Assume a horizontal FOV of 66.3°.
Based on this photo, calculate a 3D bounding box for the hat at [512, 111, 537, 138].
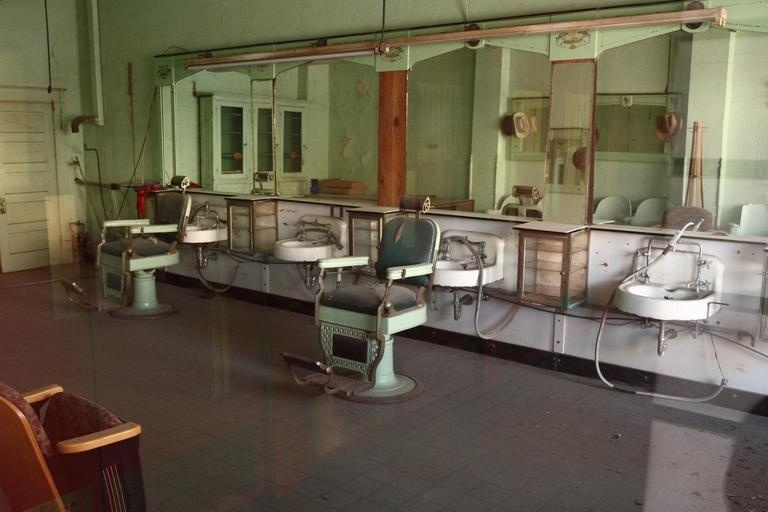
[{"bbox_3d":[1.360,-1.322,5.941,0.291,0.198,0.102,-17,-2,-31],"label":"hat"}]

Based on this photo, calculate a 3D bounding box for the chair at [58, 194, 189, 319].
[{"bbox_3d":[-2.280,0.028,5.831,1.382,1.398,1.062,3,2,-41],"label":"chair"}]

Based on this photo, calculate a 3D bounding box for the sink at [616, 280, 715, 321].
[{"bbox_3d":[1.960,0.351,4.119,0.655,0.264,0.451,4,13,26],"label":"sink"}]

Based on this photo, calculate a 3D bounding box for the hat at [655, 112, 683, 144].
[{"bbox_3d":[2.287,-1.043,4.767,0.116,0.248,0.559,2,12,17],"label":"hat"}]

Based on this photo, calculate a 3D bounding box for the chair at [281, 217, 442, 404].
[{"bbox_3d":[-0.171,0.397,4.367,0.873,1.214,1.308,7,12,41],"label":"chair"}]

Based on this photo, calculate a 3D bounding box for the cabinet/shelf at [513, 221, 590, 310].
[{"bbox_3d":[1.332,0.083,4.669,0.529,0.550,0.429,7,8,38],"label":"cabinet/shelf"}]
